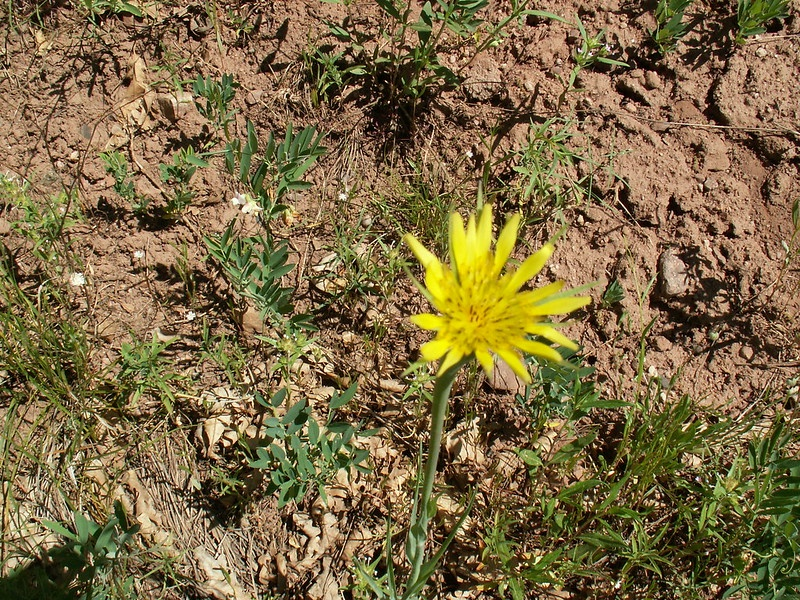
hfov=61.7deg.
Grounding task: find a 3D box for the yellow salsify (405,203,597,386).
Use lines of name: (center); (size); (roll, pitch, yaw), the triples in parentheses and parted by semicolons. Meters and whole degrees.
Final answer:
yellow salsify: (0.340, 0.079, 2.648); (0.677, 0.254, 0.678); (-43, 89, -16)
